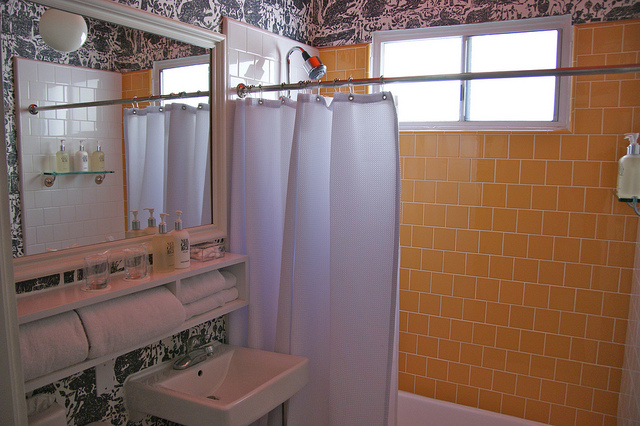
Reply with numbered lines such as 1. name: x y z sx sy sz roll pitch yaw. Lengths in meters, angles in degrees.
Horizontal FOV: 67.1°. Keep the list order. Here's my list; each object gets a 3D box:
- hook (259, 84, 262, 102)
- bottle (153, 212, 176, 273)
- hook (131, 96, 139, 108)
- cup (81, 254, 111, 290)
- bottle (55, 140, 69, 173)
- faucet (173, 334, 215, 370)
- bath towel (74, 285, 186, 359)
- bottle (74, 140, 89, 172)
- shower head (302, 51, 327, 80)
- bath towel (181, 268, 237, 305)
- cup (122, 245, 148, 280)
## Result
1. hook: -0.315 -0.742 2.829 0.020 0.087 0.021 4 45 -2
2. bottle: -0.804 0.176 2.473 0.103 0.247 0.085 -2 11 -2
3. hook: -0.943 -0.560 2.463 0.025 0.039 0.031 4 30 -5
4. cup: -1.061 0.267 2.249 0.145 0.159 0.087 -2 11 -2
5. bottle: -1.197 -0.266 2.230 0.007 0.142 0.060 8 15 39
6. faucet: -0.729 0.771 2.762 0.226 0.092 0.305 1 18 25
7. bath towel: -0.896 0.510 2.310 0.125 0.233 0.471 10 16 43
8. bottle: -1.138 -0.274 2.291 0.011 0.150 0.072 7 14 36
9. shower head: -0.045 -0.927 3.008 0.128 0.181 0.206 -2 11 -4
10. bath towel: -0.637 0.394 2.646 0.200 0.157 0.419 3 5 27
11. cup: -0.937 0.239 2.429 0.114 0.166 0.169 -3 8 -26
